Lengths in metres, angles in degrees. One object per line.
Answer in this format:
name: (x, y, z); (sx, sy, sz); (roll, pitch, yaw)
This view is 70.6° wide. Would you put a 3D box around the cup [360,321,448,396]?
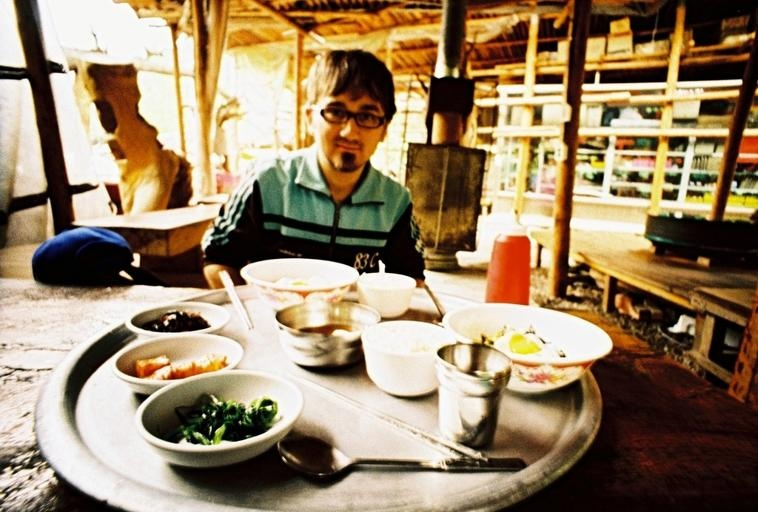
cup: (0.127, 0.503, 2.687); (0.414, 0.228, 0.394); (1, 4, 0)
